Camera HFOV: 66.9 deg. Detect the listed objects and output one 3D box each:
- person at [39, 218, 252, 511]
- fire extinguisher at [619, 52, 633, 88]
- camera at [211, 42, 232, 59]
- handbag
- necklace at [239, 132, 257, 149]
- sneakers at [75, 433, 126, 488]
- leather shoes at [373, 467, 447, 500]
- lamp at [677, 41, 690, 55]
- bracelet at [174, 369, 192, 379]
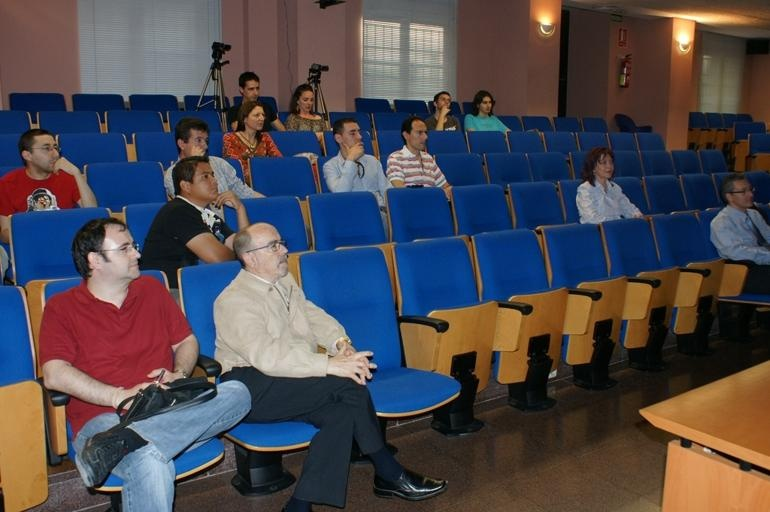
[{"bbox_3d":[-1.099,0.442,2.667,0.664,1.221,0.740,6,13,44],"label":"person"},{"bbox_3d":[5.492,-4.213,13.242,0.458,0.737,0.170,-9,11,-33],"label":"fire extinguisher"},{"bbox_3d":[-2.082,-2.611,7.399,0.175,0.259,0.490,-6,9,-17],"label":"camera"},{"bbox_3d":[-0.958,0.584,2.550,0.317,0.115,0.182,-15,1,-27],"label":"handbag"},{"bbox_3d":[-1.246,-1.069,5.364,0.122,0.063,0.170,-18,63,-48],"label":"necklace"},{"bbox_3d":[-1.171,0.818,2.451,0.129,0.110,0.303,-15,10,-7],"label":"sneakers"},{"bbox_3d":[0.125,1.148,2.967,0.296,0.118,0.166,-1,2,3],"label":"leather shoes"},{"bbox_3d":[6.636,-4.610,12.915,0.253,0.262,0.059,-6,7,-17],"label":"lamp"},{"bbox_3d":[-0.949,0.556,2.761,0.047,0.036,0.047,2,-1,18],"label":"bracelet"}]
